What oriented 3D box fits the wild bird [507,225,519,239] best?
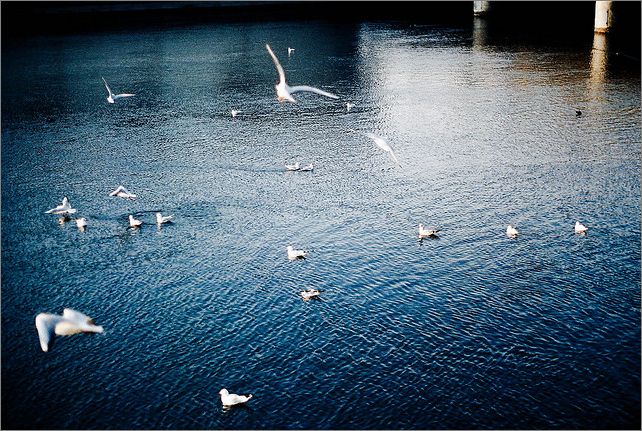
[{"bbox_3d":[14.916,1.208,49.904,0.953,0.726,1.147,3,20,14],"label":"wild bird"}]

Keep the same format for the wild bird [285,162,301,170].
[{"bbox_3d":[-2.734,-4.682,61.347,1.419,0.747,0.780,4,12,11],"label":"wild bird"}]

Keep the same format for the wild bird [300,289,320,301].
[{"bbox_3d":[-0.754,5.520,45.000,1.436,0.589,0.816,-3,20,-3],"label":"wild bird"}]
